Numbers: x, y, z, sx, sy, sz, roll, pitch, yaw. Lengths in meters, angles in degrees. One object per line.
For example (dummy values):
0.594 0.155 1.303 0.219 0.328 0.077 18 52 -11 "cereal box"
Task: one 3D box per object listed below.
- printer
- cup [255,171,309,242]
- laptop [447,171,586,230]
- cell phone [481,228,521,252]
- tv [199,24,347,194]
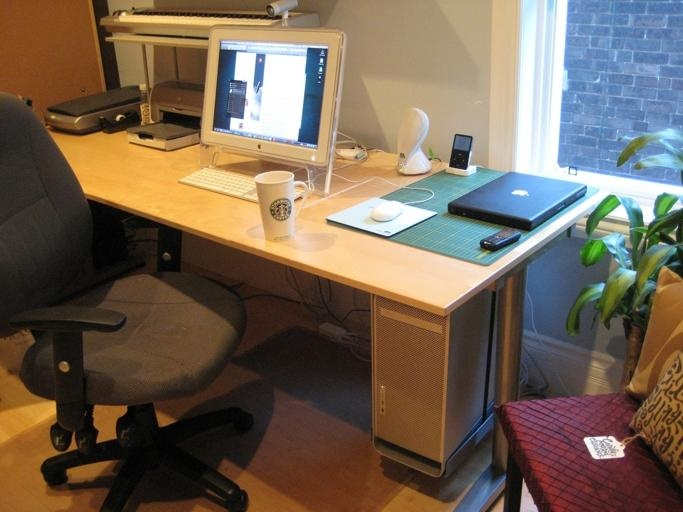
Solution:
-0.773 -0.610 2.457 0.295 0.282 0.305 22 32 31 "printer"
-0.182 -0.143 1.644 0.122 0.206 0.137 22 31 34 "cup"
0.538 -0.166 1.713 0.345 0.020 0.433 16 27 36 "laptop"
0.430 -0.055 1.518 0.102 0.026 0.057 -26 35 -36 "cell phone"
-0.239 -0.514 1.927 0.582 0.501 0.133 16 23 27 "tv"
